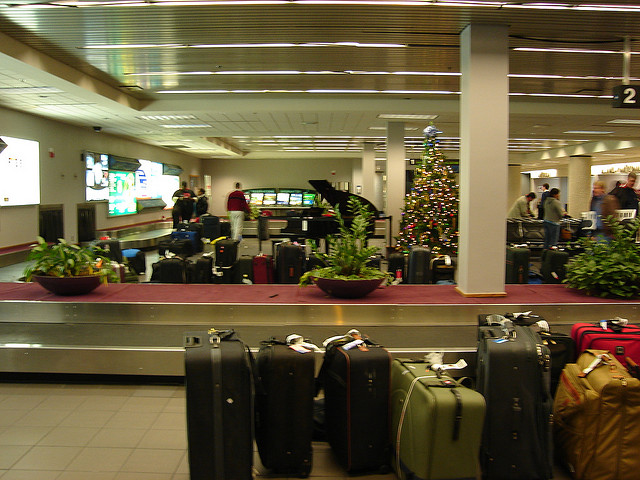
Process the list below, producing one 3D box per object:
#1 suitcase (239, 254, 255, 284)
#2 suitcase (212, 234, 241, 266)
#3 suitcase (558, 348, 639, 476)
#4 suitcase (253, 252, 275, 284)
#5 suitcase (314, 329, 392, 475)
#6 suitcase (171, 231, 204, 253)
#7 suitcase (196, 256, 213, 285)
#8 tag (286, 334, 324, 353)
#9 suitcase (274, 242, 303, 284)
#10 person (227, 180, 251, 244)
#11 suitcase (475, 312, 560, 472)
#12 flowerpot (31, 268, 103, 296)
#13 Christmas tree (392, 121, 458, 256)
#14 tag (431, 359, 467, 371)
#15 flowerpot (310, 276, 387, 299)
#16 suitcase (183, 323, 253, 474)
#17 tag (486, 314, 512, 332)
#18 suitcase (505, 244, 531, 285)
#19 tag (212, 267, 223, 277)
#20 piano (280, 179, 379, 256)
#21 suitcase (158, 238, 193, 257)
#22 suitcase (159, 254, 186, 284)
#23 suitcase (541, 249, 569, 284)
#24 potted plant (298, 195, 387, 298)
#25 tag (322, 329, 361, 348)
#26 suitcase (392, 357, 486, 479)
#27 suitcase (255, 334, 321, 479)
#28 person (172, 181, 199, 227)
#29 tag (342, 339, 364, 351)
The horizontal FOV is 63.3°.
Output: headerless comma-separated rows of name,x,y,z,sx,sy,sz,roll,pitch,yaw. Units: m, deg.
suitcase,-1.033,0.411,7.289,0.193,0.374,0.308,-1,2,-16
suitcase,-1.522,0.172,8.393,0.511,0.373,0.707,1,2,6
suitcase,2.042,1.295,3.898,0.447,0.872,0.380,-1,3,-12
suitcase,-0.775,0.407,7.318,0.233,0.383,0.299,1,3,40
suitcase,0.220,1.246,3.987,0.730,0.853,0.784,4,3,-10
suitcase,-2.812,0.039,10.948,0.871,0.482,0.203,-1,29,-1
suitcase,-1.608,0.417,7.196,0.221,0.344,0.409,-1,2,-10
tag,-0.129,0.806,4.010,0.270,0.048,0.132,5,0,14
suitcase,-0.426,0.317,7.136,0.364,0.542,0.188,-1,3,-2
person,-1.965,-0.719,12.440,0.512,1.383,1.070,-1,2,-8
suitcase,1.504,1.189,3.948,0.605,1.154,0.831,0,2,17
flowerpot,-2.747,0.468,5.608,0.690,0.275,0.264,-1,2,-15
Christmas tree,2.132,-0.869,10.169,1.037,2.305,0.338,0,3,5
tag,0.922,0.956,3.925,0.355,0.056,0.149,-1,-4,5
flowerpot,0.299,0.516,5.540,0.730,0.234,0.281,0,2,0
suitcase,-0.721,1.167,3.745,0.463,0.976,0.254,-1,3,-6
tag,1.404,0.661,4.095,0.153,0.045,0.163,2,5,6
suitcase,2.765,0.362,7.290,0.337,0.487,0.704,2,-5,3
tag,-1.481,0.454,7.414,0.186,0.100,0.045,1,10,-14
piano,-0.022,-0.544,11.079,2.908,1.613,1.624,-2,2,-12
suitcase,-2.658,0.126,9.560,0.876,0.303,0.461,0,-1,-3
suitcase,-1.953,0.385,7.193,0.473,0.332,0.653,1,0,1
suitcase,3.219,0.366,7.154,0.304,0.446,0.478,-2,2,-21
potted plant,0.245,0.074,5.591,0.824,1.111,0.585,0,3,24
tag,0.176,0.775,4.185,0.381,0.086,0.282,-5,0,0
suitcase,0.816,1.360,3.829,0.448,0.811,0.587,-2,2,-20
suitcase,-0.268,1.258,3.959,0.457,1.039,0.258,-1,3,-6
person,-3.679,-0.951,13.975,0.558,1.203,1.442,-1,2,-13
tag,0.243,0.797,3.969,0.222,0.042,0.050,-18,6,-14
